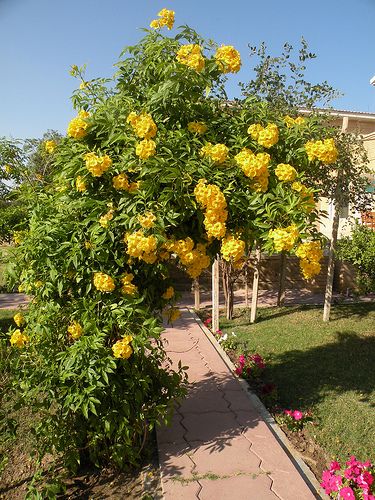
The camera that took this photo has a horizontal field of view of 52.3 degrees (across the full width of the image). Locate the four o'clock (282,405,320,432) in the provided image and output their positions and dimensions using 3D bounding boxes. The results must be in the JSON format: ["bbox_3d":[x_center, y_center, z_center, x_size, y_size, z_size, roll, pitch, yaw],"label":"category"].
[{"bbox_3d":[0.923,1.412,3.166,0.211,0.106,0.199,-11,11,-4],"label":"four o'clock"}]

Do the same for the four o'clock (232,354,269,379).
[{"bbox_3d":[0.679,1.255,4.139,0.283,0.137,0.264,-4,37,15],"label":"four o'clock"}]

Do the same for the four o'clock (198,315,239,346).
[{"bbox_3d":[0.478,1.158,5.189,0.161,0.179,0.549,8,12,-21],"label":"four o'clock"}]
